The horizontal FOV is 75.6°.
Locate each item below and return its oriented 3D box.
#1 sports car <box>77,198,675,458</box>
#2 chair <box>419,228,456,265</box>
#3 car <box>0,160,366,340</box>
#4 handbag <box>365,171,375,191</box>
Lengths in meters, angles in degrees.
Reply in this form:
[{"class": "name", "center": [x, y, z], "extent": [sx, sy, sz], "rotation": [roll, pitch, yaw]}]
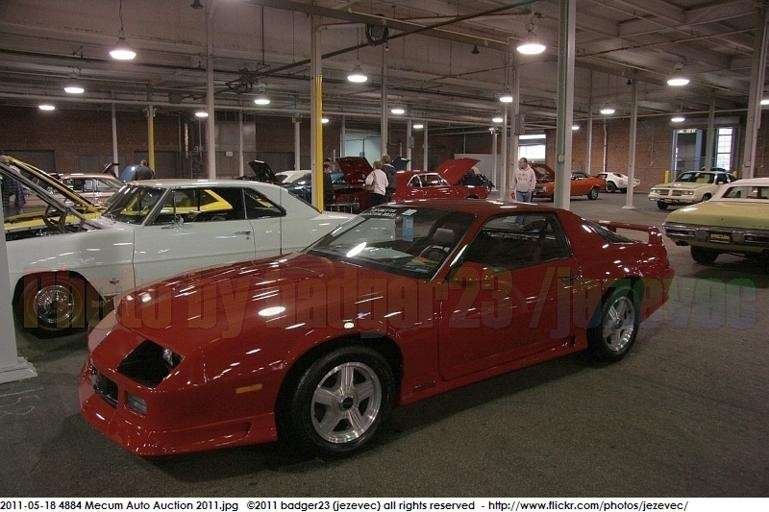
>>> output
[{"class": "sports car", "center": [0.370, 0.458, 5.317], "extent": [6.291, 2.035, 1.915], "rotation": [-8, 12, -31]}, {"class": "chair", "center": [0.572, -0.067, 4.808], "extent": [0.273, 0.360, 0.319], "rotation": [10, 11, -11]}, {"class": "car", "center": [-2.843, -0.211, 7.852], "extent": [4.800, 1.846, 2.255], "rotation": [-3, 7, -30]}, {"class": "handbag", "center": [-0.428, -2.208, 14.831], "extent": [0.208, 0.587, 0.495], "rotation": [-4, 10, -11]}]
